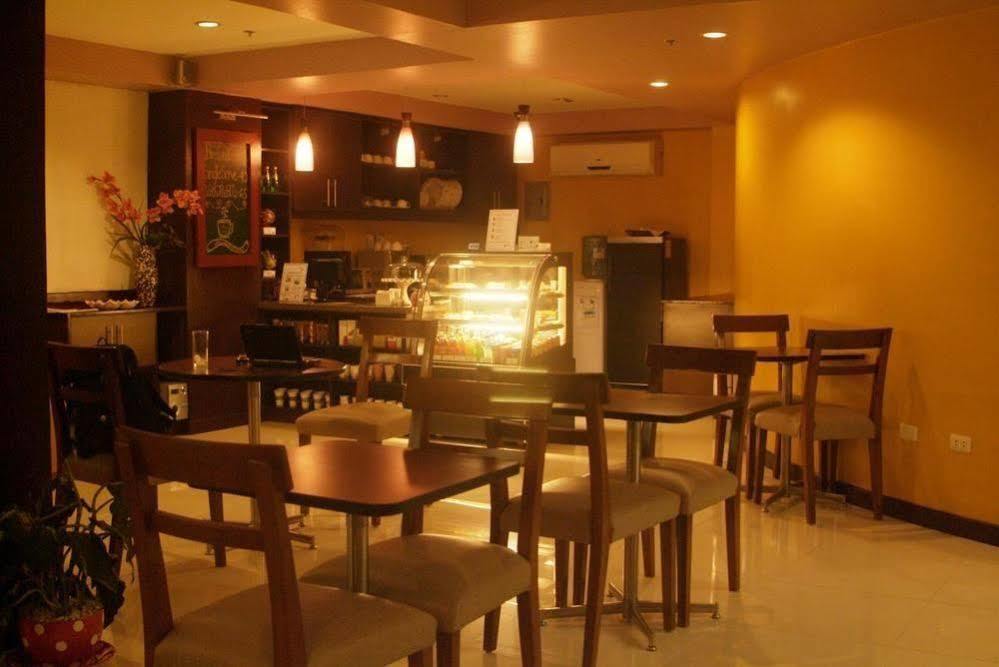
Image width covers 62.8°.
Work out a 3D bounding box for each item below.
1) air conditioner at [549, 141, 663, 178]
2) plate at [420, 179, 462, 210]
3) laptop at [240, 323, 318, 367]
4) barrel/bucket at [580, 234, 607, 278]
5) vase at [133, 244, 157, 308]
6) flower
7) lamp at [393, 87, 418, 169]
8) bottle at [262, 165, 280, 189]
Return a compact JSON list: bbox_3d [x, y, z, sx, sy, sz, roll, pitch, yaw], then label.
[{"bbox_3d":[1.313,-2.208,10.319,1.403,0.406,0.127,6,13,26],"label":"air conditioner"},{"bbox_3d":[-0.726,-1.696,9.923,0.442,0.427,0.189,-7,1,40],"label":"plate"},{"bbox_3d":[-1.395,0.040,5.260,0.340,0.285,0.205,5,13,17],"label":"laptop"},{"bbox_3d":[1.165,-0.944,10.076,0.498,0.481,0.458,0,1,0],"label":"barrel/bucket"},{"bbox_3d":[-3.217,-0.527,7.432,0.177,0.553,0.199,-5,13,-26],"label":"vase"},{"bbox_3d":[-3.152,-1.077,7.276,0.865,0.499,0.745,12,10,31],"label":"flower"},{"bbox_3d":[-0.876,-1.800,7.542,0.167,0.501,0.550,-1,11,-8],"label":"lamp"},{"bbox_3d":[-2.311,-1.558,8.206,0.154,0.249,0.201,2,11,8],"label":"bottle"}]
